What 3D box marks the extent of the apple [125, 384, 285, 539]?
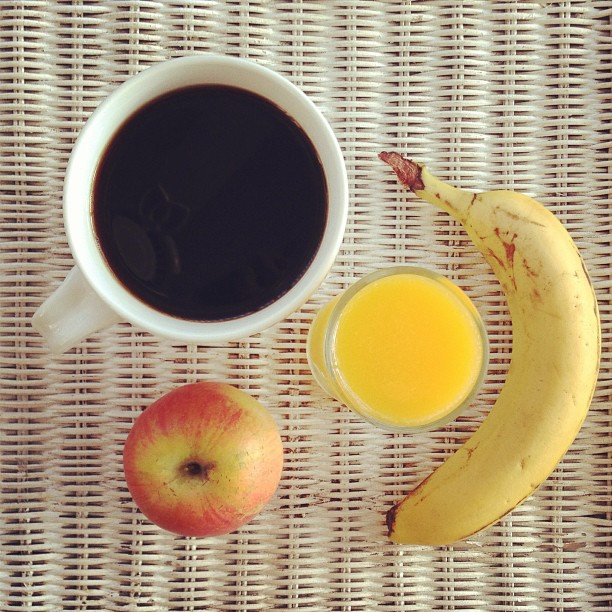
[{"bbox_3d":[-0.131,0.211,1.341,0.256,0.207,0.175,0,91,0],"label":"apple"}]
